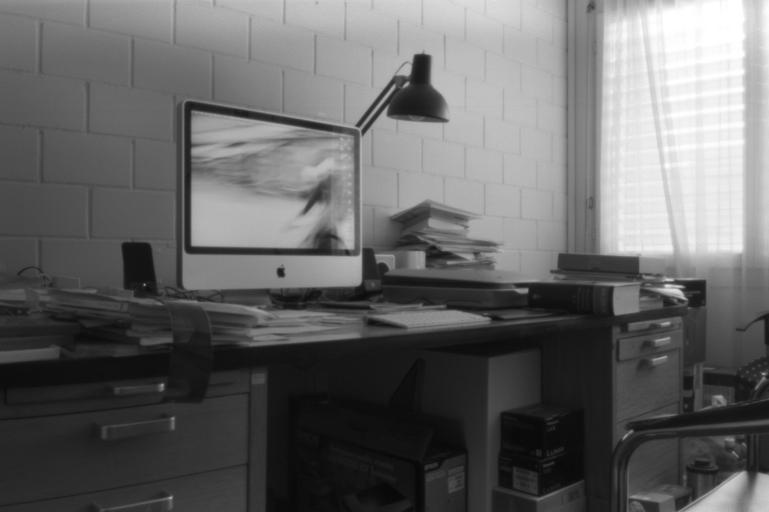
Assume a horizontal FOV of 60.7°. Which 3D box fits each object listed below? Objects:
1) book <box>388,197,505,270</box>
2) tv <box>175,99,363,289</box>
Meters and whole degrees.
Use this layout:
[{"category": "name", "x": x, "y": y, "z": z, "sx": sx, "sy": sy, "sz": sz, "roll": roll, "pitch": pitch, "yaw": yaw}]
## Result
[{"category": "book", "x": 0.279, "y": -0.087, "z": 2.941, "sx": 0.371, "sy": 0.163, "sz": 0.361, "roll": 0, "pitch": 1, "yaw": -35}, {"category": "tv", "x": -0.364, "y": -0.171, "z": 1.995, "sx": 0.626, "sy": 0.535, "sz": 0.078, "roll": 2, "pitch": -6, "yaw": -32}]
